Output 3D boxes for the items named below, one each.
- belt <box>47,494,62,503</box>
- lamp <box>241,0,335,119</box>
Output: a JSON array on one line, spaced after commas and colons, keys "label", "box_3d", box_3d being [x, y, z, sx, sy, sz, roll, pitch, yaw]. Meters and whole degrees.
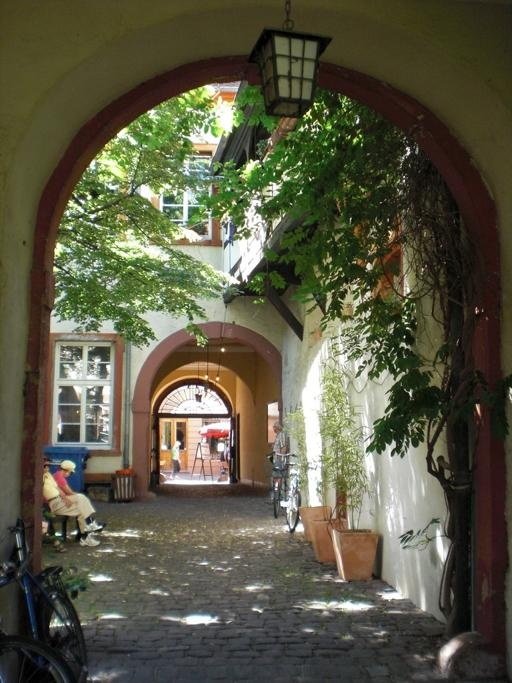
[{"label": "belt", "box_3d": [-2.773, 2.127, 7.846, 0.155, 0.114, 0.151, -5, -5, 11]}, {"label": "lamp", "box_3d": [0.147, -1.166, 2.739, 0.399, 0.792, 0.374, 1, -3, -16]}]
